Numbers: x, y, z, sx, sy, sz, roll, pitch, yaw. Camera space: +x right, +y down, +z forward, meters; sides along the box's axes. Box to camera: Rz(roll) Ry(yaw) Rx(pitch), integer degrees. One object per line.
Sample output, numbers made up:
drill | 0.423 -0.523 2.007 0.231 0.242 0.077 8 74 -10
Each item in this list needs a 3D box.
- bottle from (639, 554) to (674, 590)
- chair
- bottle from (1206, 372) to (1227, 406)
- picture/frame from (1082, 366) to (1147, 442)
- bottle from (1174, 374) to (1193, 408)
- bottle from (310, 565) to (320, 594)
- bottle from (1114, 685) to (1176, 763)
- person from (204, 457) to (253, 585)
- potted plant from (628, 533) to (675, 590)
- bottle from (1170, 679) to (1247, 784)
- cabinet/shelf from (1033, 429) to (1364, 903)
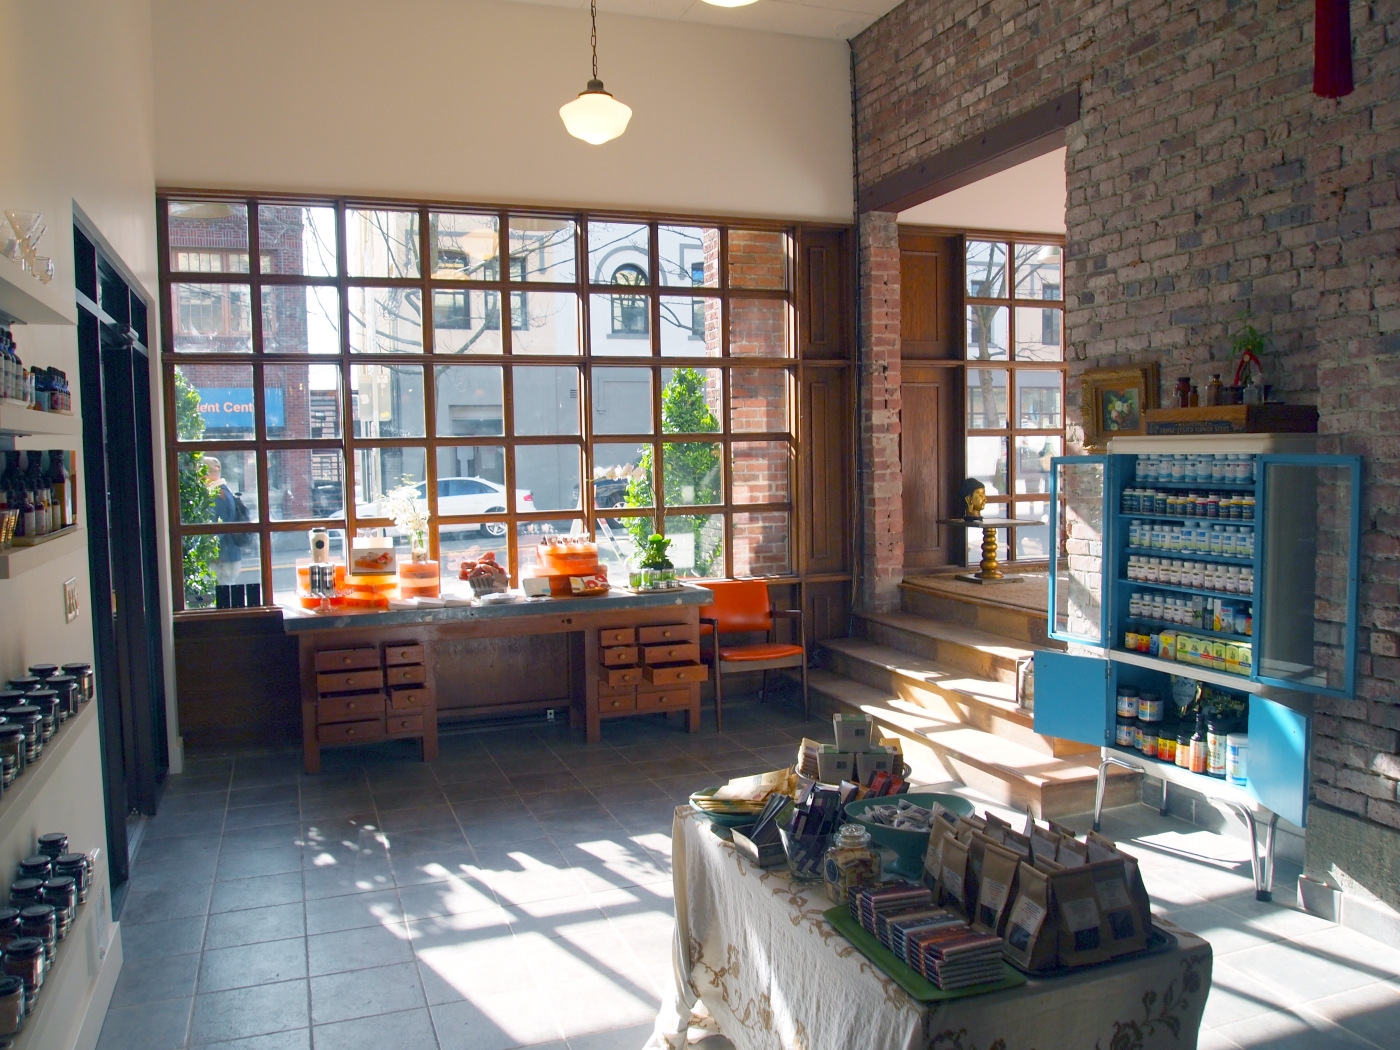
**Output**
bottle | -0.337 0.372 7.752 0.341 0.253 0.191 0 -2 -11
chair | 0.460 0.975 8.286 0.999 1.052 0.949 -3 8 -16
bottle | 2.774 -0.750 5.530 0.090 0.170 0.329 3 8 26
picture/frame | 2.516 -0.759 6.209 0.182 0.613 0.533 -1 1 -21
bottle | 2.683 -0.758 5.682 0.081 0.165 0.326 2 8 24
bottle | -2.679 0.366 7.108 0.061 0.164 0.075 -4 8 -19
bottle | 2.440 1.106 5.657 0.392 0.376 0.241 1 3 42
person | -3.410 -0.049 7.454 0.300 0.906 0.121 -4 8 -21
potted plant | -0.372 0.261 7.811 0.384 0.566 0.378 1 0 -8
bottle | 2.617 1.071 5.383 0.465 0.475 0.280 -2 5 -36
cabinet/shelf | 2.686 0.641 5.492 0.711 2.189 1.823 -2 5 -23
